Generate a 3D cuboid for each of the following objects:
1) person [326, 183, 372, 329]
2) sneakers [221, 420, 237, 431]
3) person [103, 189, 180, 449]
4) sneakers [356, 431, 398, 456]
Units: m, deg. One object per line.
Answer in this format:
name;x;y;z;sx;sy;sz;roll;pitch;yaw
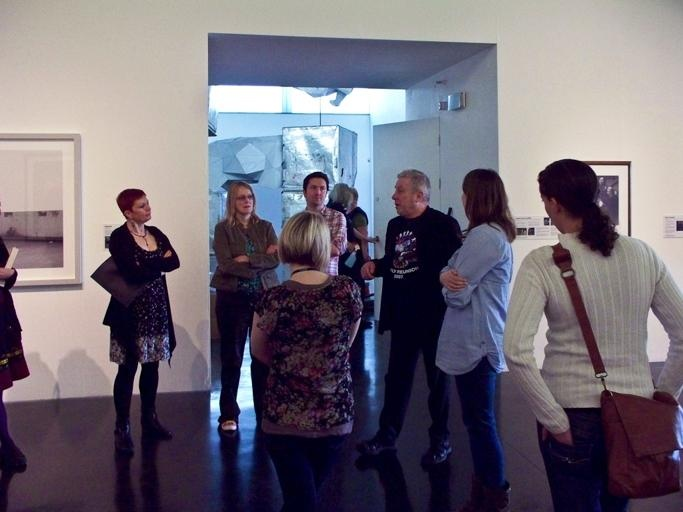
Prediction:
person;0.194;-0.040;7.727;0.584;1.905;0.545;-5;12;36
sneakers;-0.892;1.336;4.477;0.150;0.071;0.115;0;7;0
person;-1.468;0.458;4.187;0.526;1.877;0.344;-3;7;-25
sneakers;0.256;1.340;4.070;0.251;0.115;0.139;1;-5;-10
